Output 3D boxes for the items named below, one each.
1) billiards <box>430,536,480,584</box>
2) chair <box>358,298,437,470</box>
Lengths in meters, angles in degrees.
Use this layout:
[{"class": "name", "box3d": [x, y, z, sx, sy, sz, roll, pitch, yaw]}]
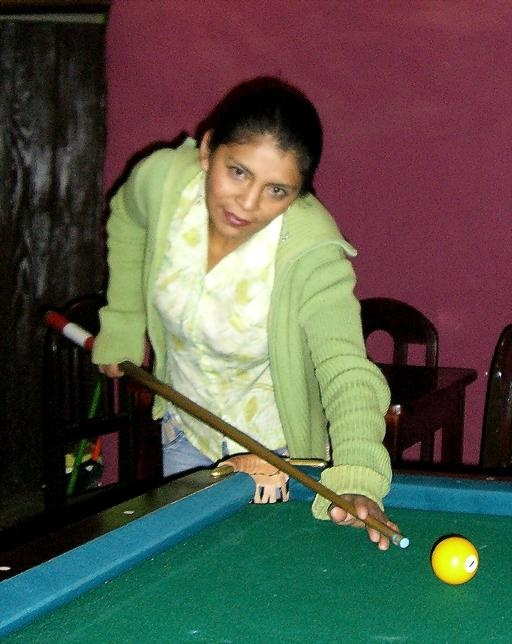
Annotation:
[{"class": "billiards", "box3d": [0.332, 0.399, 1.105, 0.091, 0.085, 0.075, 6, 36, 6]}, {"class": "chair", "box3d": [0.805, 0.283, 3.426, 0.561, 0.775, 0.473, 8, 20, 17]}]
